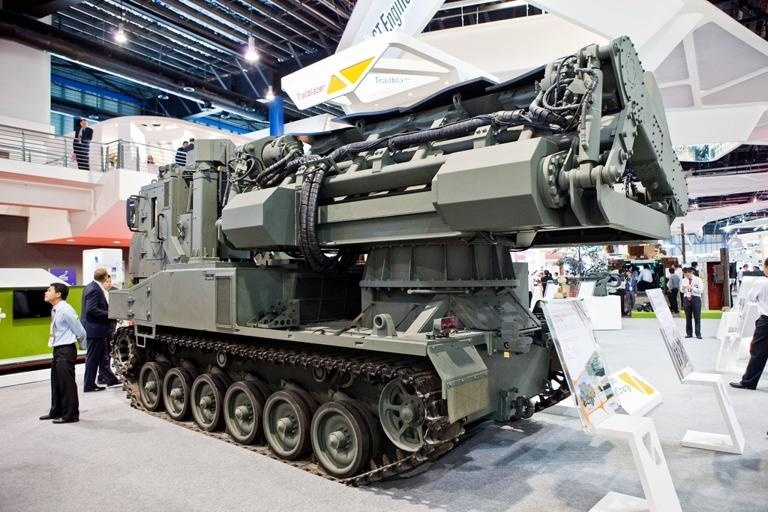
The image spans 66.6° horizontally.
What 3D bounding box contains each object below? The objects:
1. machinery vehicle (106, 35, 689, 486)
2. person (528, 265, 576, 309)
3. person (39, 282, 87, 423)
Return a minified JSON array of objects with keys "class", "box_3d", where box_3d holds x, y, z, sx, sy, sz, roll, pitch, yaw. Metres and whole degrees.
[{"class":"machinery vehicle","box_3d":[-0.463,0.257,11.199,10.300,6.140,5.051,0,-1,36]},{"class":"person","box_3d":[5.672,0.989,19.627,1.235,0.916,1.184,-1,2,-23]},{"class":"person","box_3d":[-5.933,1.776,10.753,0.710,2.514,0.590,3,8,27]}]
